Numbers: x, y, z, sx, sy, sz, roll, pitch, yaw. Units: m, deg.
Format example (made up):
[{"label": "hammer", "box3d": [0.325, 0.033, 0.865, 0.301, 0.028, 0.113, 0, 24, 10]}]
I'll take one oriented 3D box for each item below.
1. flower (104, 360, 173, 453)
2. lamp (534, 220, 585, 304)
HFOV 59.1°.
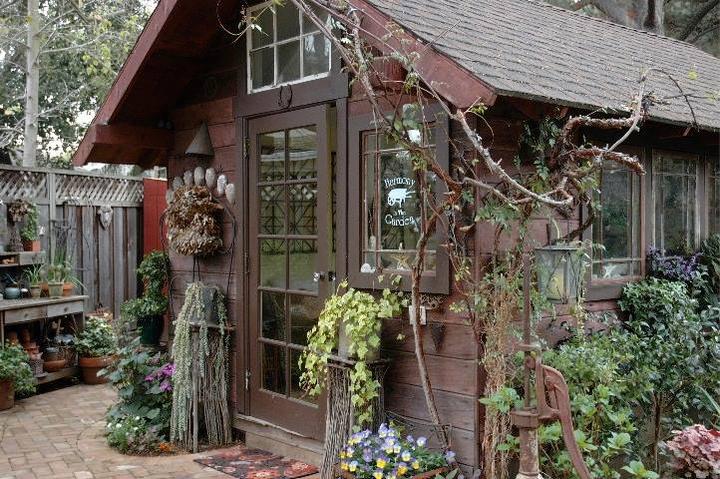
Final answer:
[{"label": "flower", "box3d": [-2.481, 1.900, 7.229, 0.803, 0.902, 0.574, 0, -5, 6]}, {"label": "lamp", "box3d": [1.777, 0.214, 5.612, 0.441, 0.642, 0.598, 1, 1, 26]}]
